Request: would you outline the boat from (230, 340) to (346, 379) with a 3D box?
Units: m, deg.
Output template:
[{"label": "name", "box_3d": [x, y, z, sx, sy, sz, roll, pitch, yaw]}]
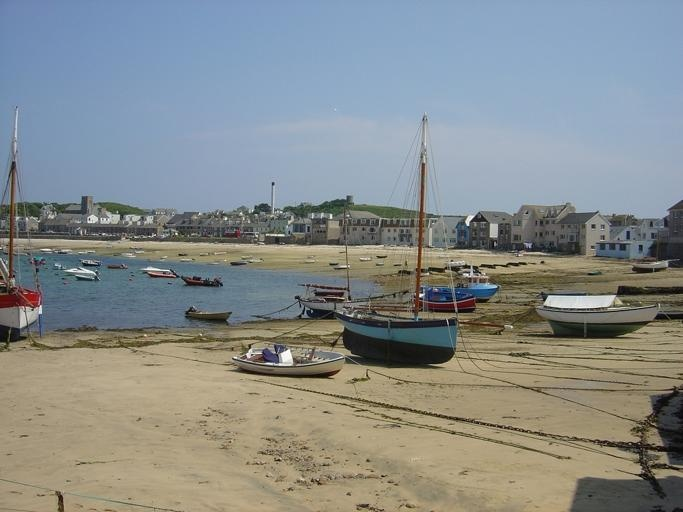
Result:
[{"label": "boat", "box_3d": [-1.883, 3.844, 27.892, 3.467, 0.620, 1.510, 2, 5, 15]}]

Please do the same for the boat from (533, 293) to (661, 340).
[{"label": "boat", "box_3d": [12.369, 2.809, 35.828, 6.159, 1.562, 2.133, -1, 1, 26]}]

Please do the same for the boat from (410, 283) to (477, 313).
[{"label": "boat", "box_3d": [6.475, 2.623, 46.716, 4.547, 1.049, 2.193, 2, 5, 26]}]
